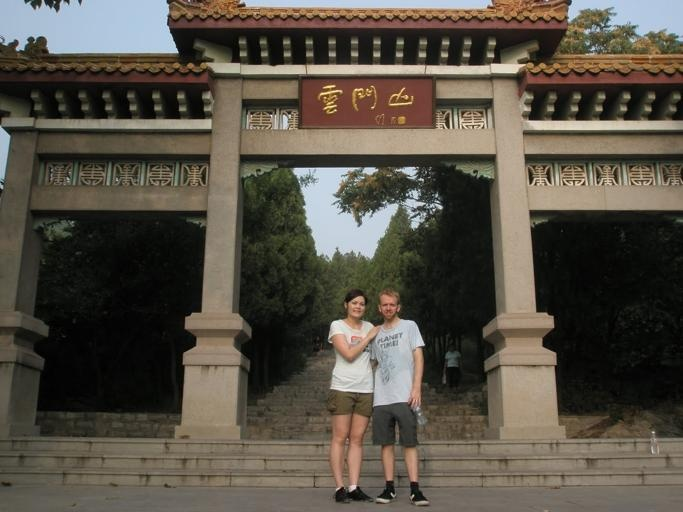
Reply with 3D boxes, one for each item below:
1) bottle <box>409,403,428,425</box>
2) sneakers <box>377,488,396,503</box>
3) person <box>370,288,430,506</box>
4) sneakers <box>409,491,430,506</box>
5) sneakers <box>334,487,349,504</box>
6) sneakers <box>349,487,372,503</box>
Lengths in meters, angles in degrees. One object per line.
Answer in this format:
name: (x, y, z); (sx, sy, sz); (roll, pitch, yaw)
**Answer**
bottle: (0.924, 1.870, 8.825); (0.136, 0.223, 0.449); (-3, -10, 11)
sneakers: (0.535, 2.741, 8.610); (0.294, 0.161, 0.124); (5, -11, -33)
person: (0.676, 1.618, 8.782); (0.616, 2.469, 0.347); (-1, -9, 3)
sneakers: (0.897, 2.715, 8.507); (0.205, 0.217, 0.171); (-2, -9, 4)
sneakers: (0.004, 2.727, 8.544); (0.138, 0.129, 0.323); (2, -12, -5)
sneakers: (0.210, 2.733, 8.564); (0.117, 0.127, 0.331); (13, -20, -33)
